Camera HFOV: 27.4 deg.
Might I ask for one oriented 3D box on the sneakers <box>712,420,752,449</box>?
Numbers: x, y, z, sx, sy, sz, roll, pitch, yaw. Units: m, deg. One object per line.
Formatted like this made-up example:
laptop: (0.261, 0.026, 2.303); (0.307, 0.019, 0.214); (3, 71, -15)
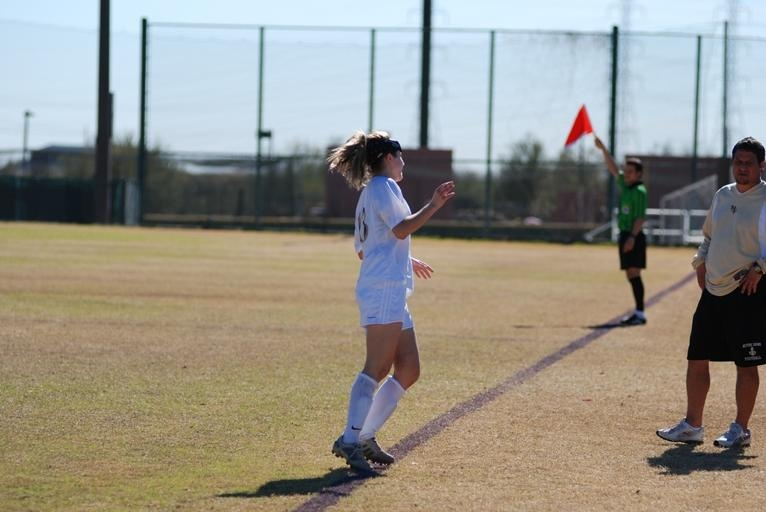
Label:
sneakers: (3.499, 1.765, 15.491); (0.407, 0.250, 0.141); (1, 2, -15)

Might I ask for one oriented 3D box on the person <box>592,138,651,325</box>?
person: (3.066, -0.244, 19.773); (0.596, 2.202, 1.516); (2, 1, 9)

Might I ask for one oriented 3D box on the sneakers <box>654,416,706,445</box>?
sneakers: (2.980, 1.742, 15.636); (0.554, 0.257, 0.198); (3, -2, -4)

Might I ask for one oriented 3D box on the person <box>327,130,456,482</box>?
person: (-0.021, 0.449, 15.196); (0.995, 3.253, 0.659); (2, 1, -3)
